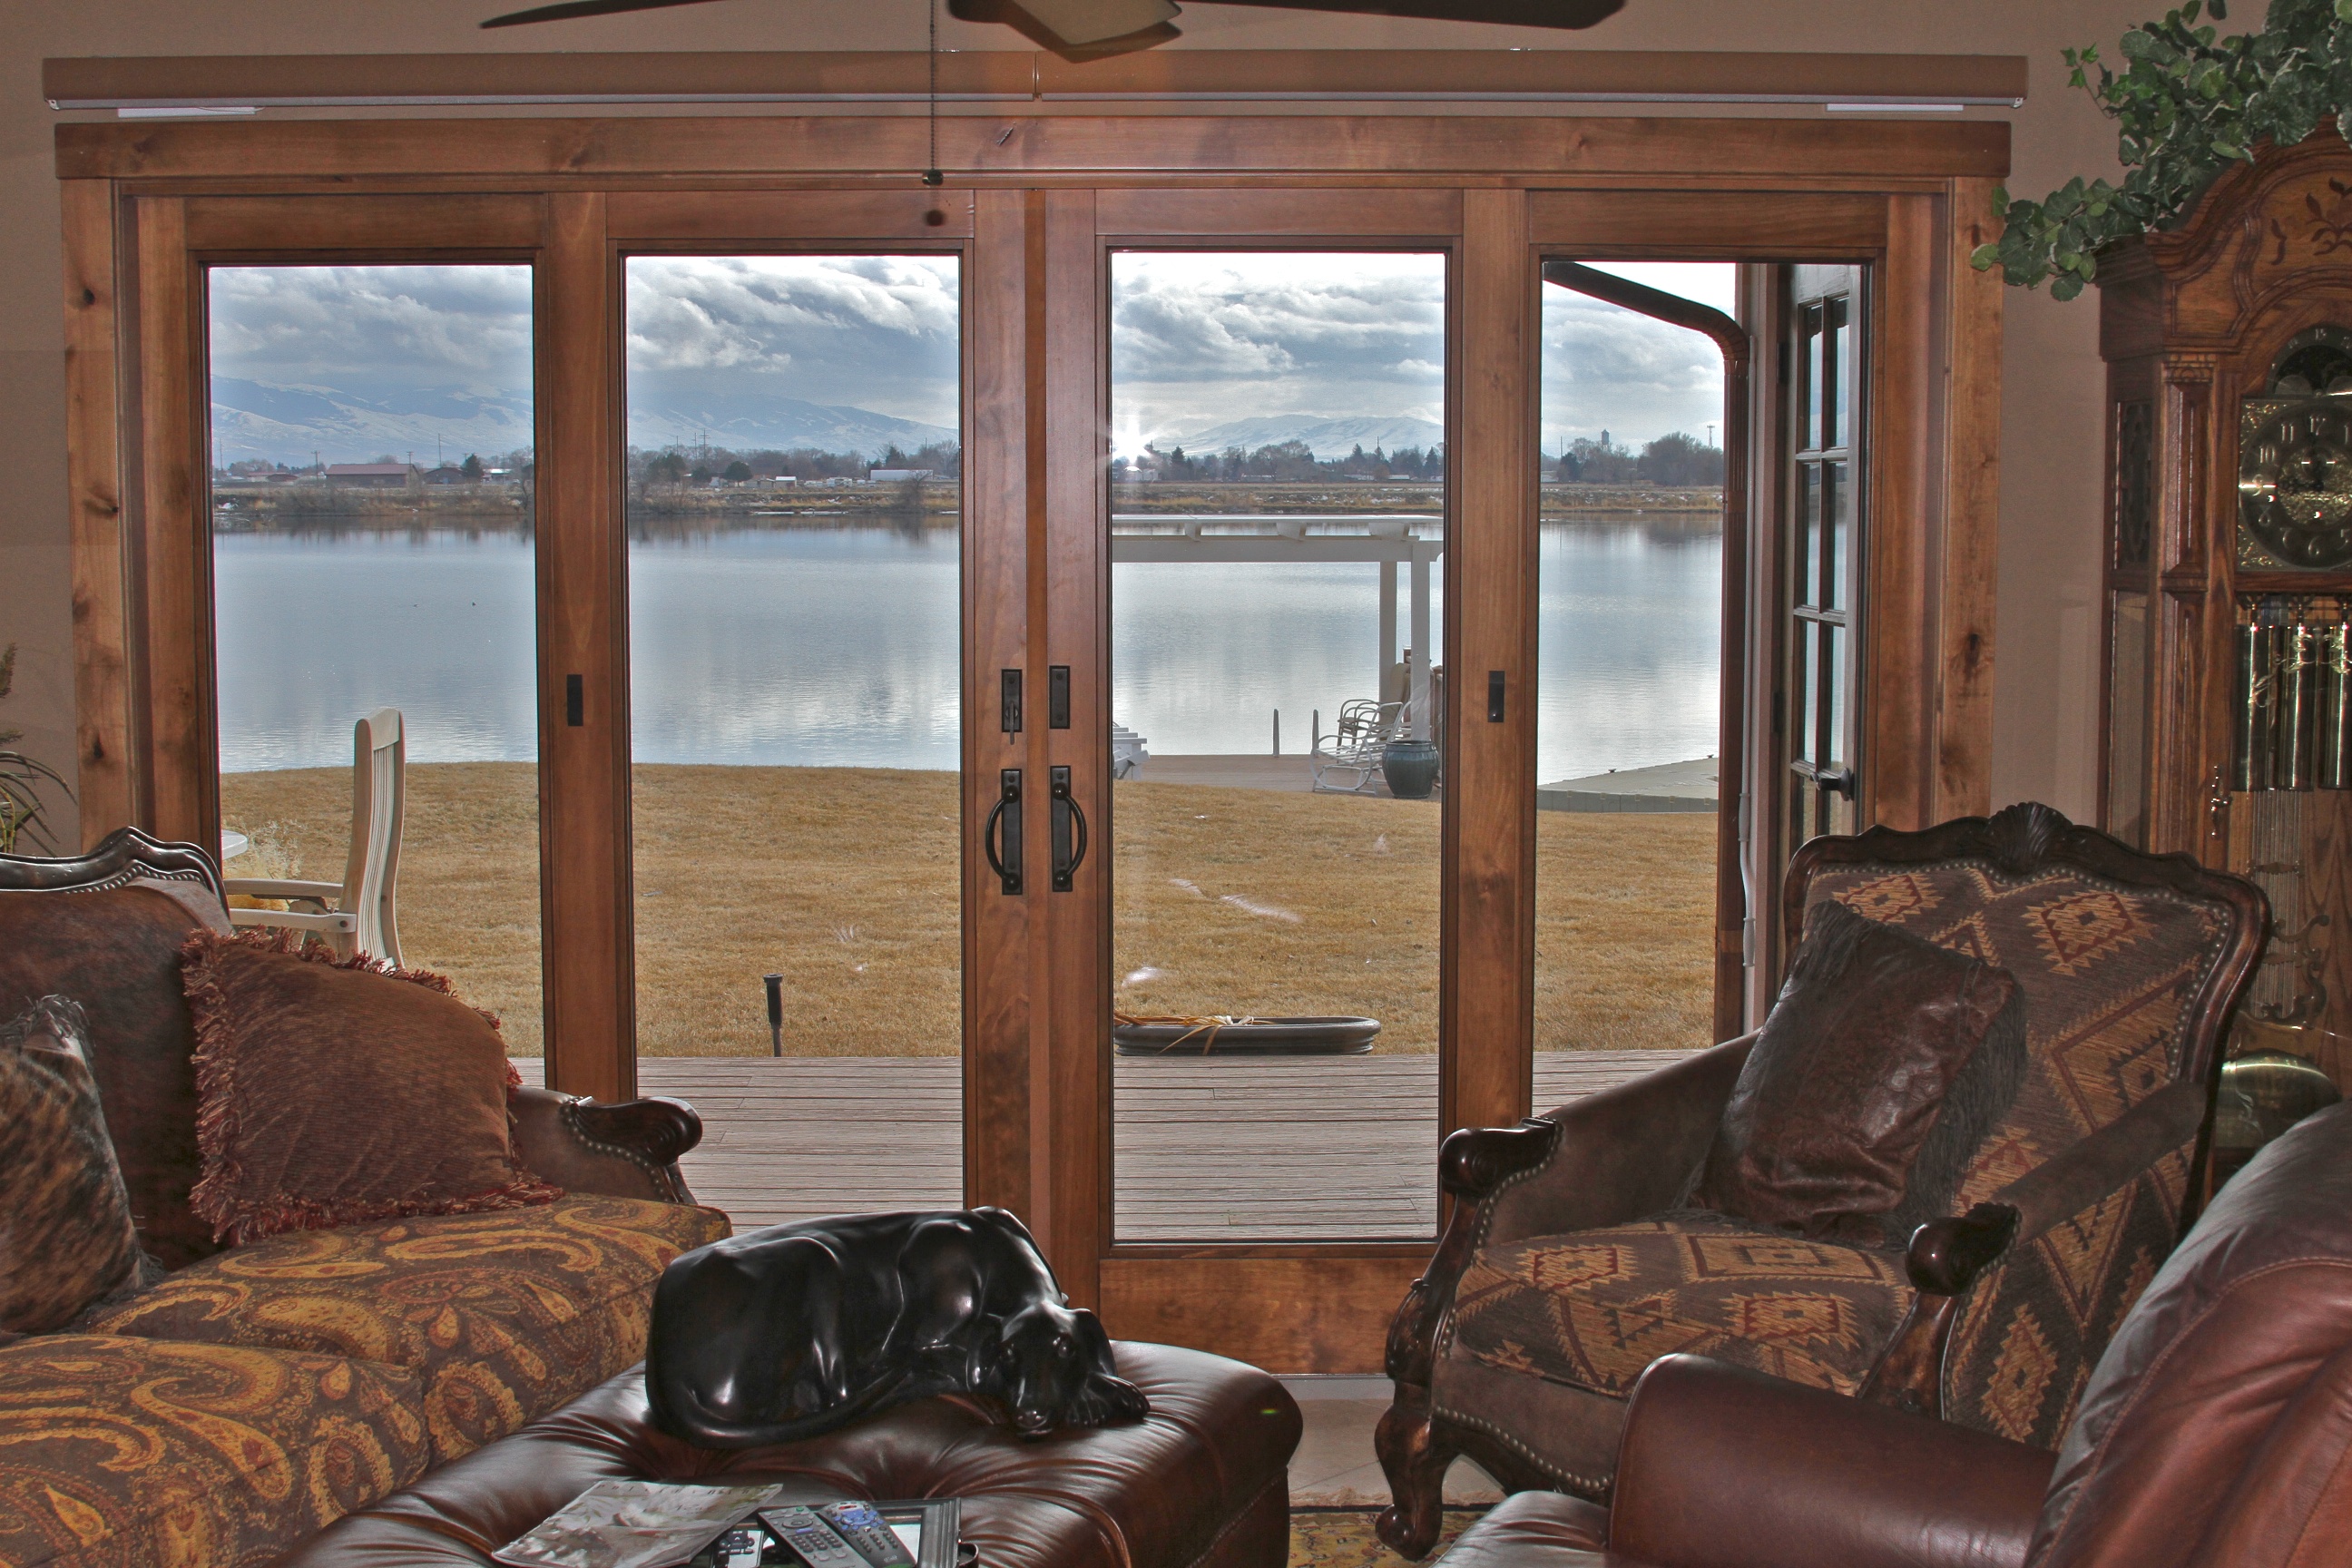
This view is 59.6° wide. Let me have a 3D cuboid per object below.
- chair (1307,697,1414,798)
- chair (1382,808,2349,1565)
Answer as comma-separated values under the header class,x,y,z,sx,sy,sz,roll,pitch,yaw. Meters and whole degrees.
class,x,y,z,sx,sy,sz,roll,pitch,yaw
chair,0.419,-0.087,4.679,0.234,0.269,0.216,0,5,-10
chair,1.184,0.739,3.745,1.350,1.358,0.892,-3,5,-31
